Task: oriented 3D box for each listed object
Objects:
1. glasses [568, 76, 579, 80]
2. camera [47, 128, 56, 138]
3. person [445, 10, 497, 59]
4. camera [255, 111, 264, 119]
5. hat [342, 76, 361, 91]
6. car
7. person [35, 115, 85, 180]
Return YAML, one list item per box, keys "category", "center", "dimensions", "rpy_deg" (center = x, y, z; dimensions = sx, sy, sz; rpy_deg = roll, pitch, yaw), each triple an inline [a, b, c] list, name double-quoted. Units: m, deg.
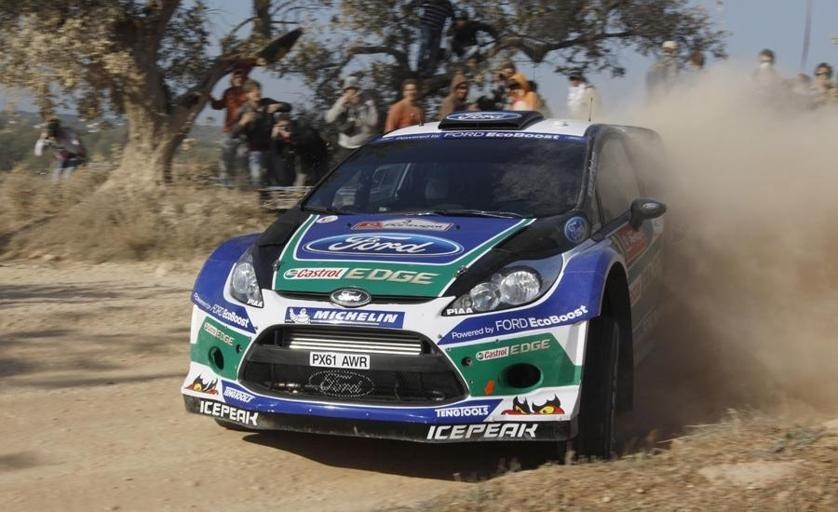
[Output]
- category: "glasses"
  center: [2.552, -2.944, 14.460]
  dimensions: [0.146, 0.031, 0.119]
  rpy_deg: [1, 8, 1]
- category: "camera"
  center: [-5.806, -1.930, 13.709]
  dimensions: [0.132, 0.143, 0.031]
  rpy_deg: [7, 8, 19]
- category: "person"
  center: [0.886, -3.585, 14.264]
  dimensions: [0.794, 0.734, 0.309]
  rpy_deg: [1, 9, -29]
- category: "camera"
  center: [-2.327, -2.036, 12.619]
  dimensions: [0.121, 0.091, 0.023]
  rpy_deg: [-8, 50, -8]
- category: "hat"
  center: [-1.002, -2.529, 12.789]
  dimensions: [0.298, 0.146, 0.328]
  rpy_deg: [-2, 6, 6]
- category: "car"
  center: [0.146, 0.035, 6.932]
  dimensions: [3.785, 2.609, 2.361]
  rpy_deg: [2, 7, -17]
- category: "person"
  center: [-5.688, -1.643, 13.759]
  dimensions: [0.794, 0.760, 0.289]
  rpy_deg: [3, 8, -12]
